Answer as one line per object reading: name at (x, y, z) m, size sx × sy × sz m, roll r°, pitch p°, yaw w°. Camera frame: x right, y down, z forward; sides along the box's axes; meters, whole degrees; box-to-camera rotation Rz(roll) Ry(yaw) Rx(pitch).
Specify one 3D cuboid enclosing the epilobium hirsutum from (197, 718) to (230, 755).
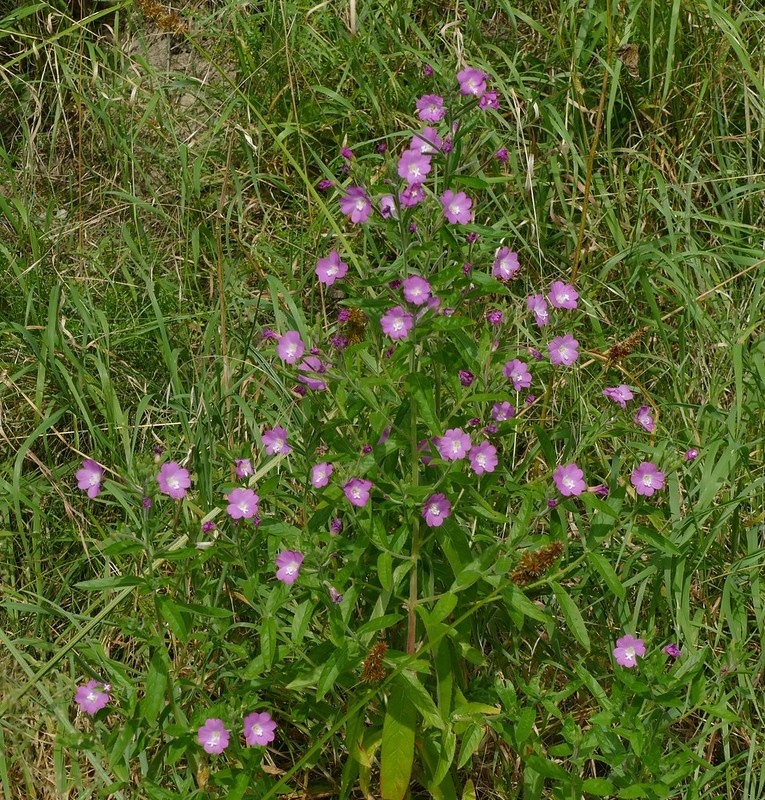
epilobium hirsutum at (-0.446, 0.886, 2.151) m, size 0.064 × 0.036 × 0.102 m, roll -1°, pitch 72°, yaw -7°

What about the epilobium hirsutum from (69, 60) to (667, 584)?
epilobium hirsutum at (0.004, -0.262, 2.948) m, size 1.090 × 1.520 × 1.623 m, roll -7°, pitch 103°, yaw 13°
